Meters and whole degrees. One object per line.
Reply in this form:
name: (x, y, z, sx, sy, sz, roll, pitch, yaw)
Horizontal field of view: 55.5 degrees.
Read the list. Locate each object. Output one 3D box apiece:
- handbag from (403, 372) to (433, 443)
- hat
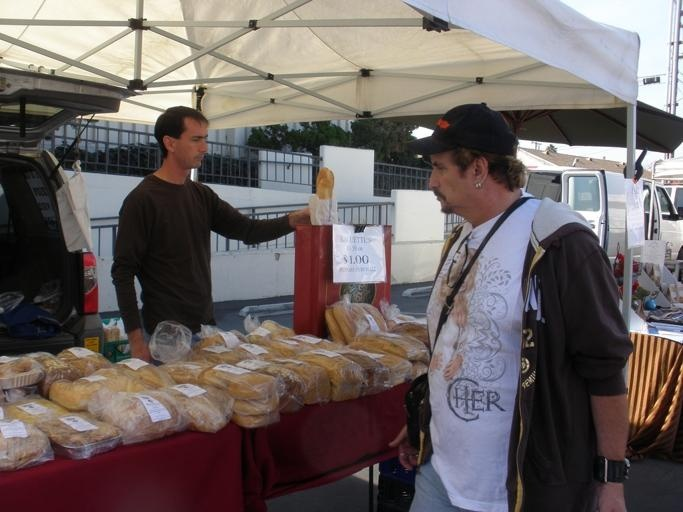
handbag: (0.335, 0.701, 2.957, 0.086, 0.270, 0.204, 1, -6, 9)
hat: (0.496, -0.525, 2.809, 0.440, 0.269, 0.333, 7, 13, 10)
